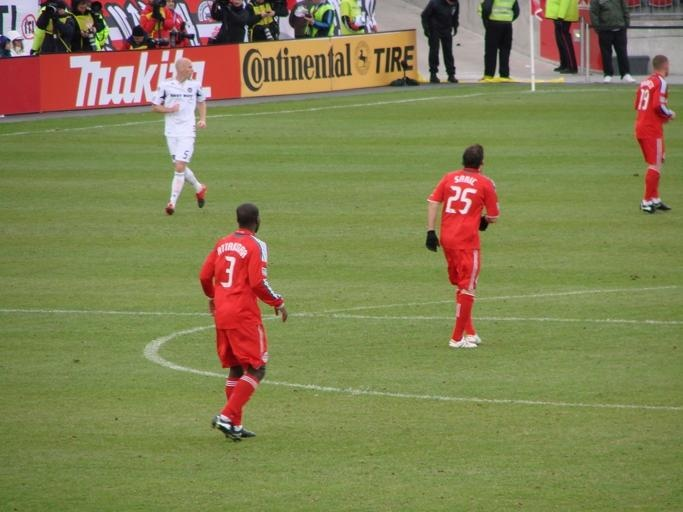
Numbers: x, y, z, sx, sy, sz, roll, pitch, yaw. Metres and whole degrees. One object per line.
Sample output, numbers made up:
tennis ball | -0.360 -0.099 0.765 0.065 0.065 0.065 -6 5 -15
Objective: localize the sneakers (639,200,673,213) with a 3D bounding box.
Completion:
sneakers | 5.296 -0.838 30.277 0.632 0.222 0.187 -3 37 -13

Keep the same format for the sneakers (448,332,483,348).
sneakers | 1.766 1.186 25.186 0.481 0.164 0.154 -7 17 -6

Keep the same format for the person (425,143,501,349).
person | 1.694 -0.132 25.102 0.841 2.814 0.551 6 11 37

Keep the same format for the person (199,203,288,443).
person | -1.266 0.849 23.004 0.998 2.997 0.628 -2 9 -4

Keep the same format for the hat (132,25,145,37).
hat | -4.338 -4.800 38.203 0.204 0.175 0.242 3 29 -1

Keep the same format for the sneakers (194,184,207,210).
sneakers | -2.421 -1.018 30.741 0.200 0.394 0.156 2 19 6
